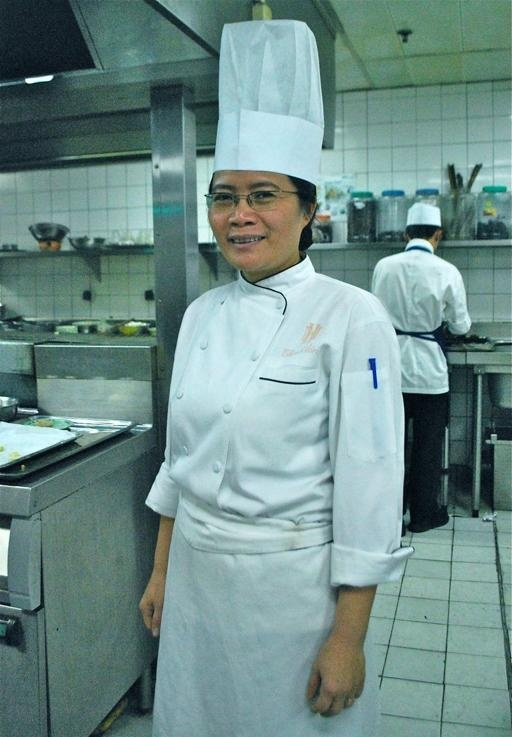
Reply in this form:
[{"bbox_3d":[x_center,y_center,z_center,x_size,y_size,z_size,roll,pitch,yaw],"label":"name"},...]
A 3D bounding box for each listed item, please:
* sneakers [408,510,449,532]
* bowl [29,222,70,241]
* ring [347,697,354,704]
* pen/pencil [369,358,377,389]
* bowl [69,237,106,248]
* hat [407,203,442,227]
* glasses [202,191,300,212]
[{"bbox_3d":[0.769,0.692,3.529,0.232,0.083,0.076,-1,-7,-42],"label":"sneakers"},{"bbox_3d":[-1.169,-0.770,4.338,0.255,0.111,0.147,5,12,37],"label":"bowl"},{"bbox_3d":[0.148,0.529,1.231,0.011,0.002,0.011,-1,-4,0],"label":"ring"},{"bbox_3d":[0.181,0.006,1.212,0.013,0.047,0.012,-2,10,3],"label":"pen/pencil"},{"bbox_3d":[-0.965,-0.710,4.351,0.186,0.076,0.174,-2,9,0],"label":"bowl"},{"bbox_3d":[0.783,-0.725,3.619,0.114,0.064,0.163,1,8,11],"label":"hat"},{"bbox_3d":[-0.019,-0.280,1.287,0.154,0.034,0.064,2,10,22],"label":"glasses"}]
